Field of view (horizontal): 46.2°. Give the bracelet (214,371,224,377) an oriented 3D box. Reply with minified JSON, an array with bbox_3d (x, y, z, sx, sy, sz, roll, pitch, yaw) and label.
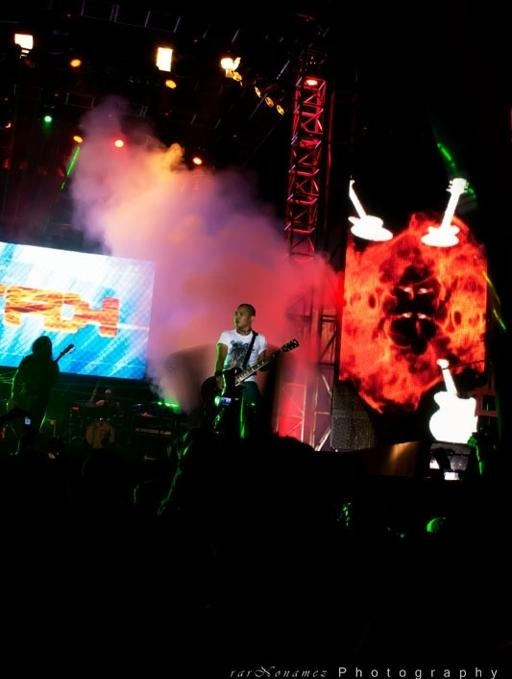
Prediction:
[{"bbox_3d":[-0.368,0.340,6.043,0.075,0.049,0.069,2,-2,-27],"label":"bracelet"}]

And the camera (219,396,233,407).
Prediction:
[{"bbox_3d":[-0.291,0.585,5.749,0.141,0.128,0.066,10,-1,5],"label":"camera"}]
